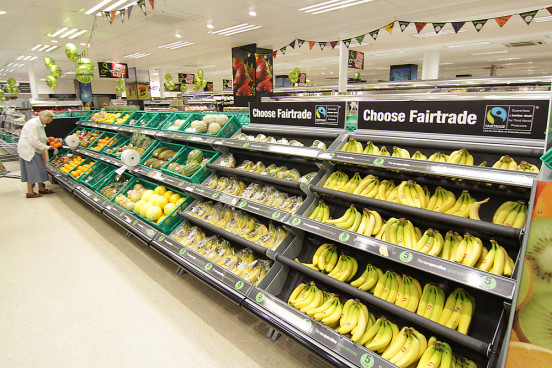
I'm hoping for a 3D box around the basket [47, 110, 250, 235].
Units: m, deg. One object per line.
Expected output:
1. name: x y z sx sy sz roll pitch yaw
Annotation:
1. basket: -2.095 -0.164 4.541 2.745 0.798 1.137 14 43 42
